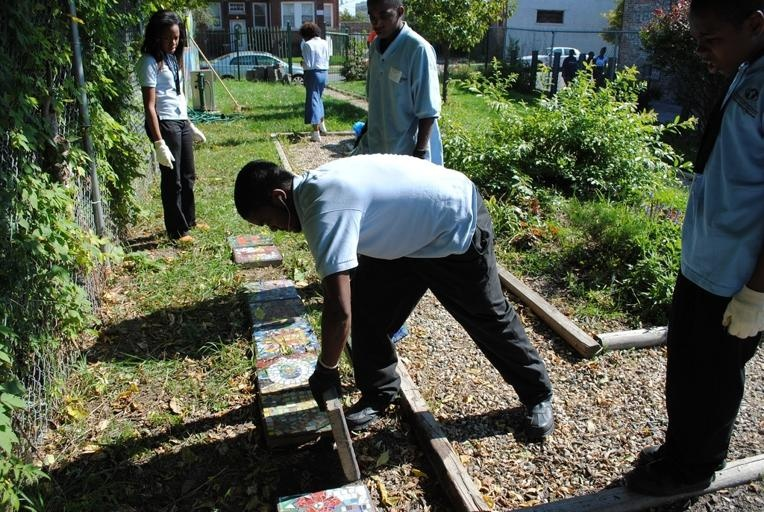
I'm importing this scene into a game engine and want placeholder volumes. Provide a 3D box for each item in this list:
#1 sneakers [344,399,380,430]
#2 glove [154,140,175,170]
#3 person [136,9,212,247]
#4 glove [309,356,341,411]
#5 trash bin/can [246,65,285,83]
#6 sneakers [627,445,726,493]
[{"bbox_3d":[-0.132,1.074,3.811,0.289,0.124,0.142,-28,4,-29],"label":"sneakers"},{"bbox_3d":[-2.239,-1.051,5.703,0.194,0.263,0.080,-32,4,40],"label":"glove"},{"bbox_3d":[-2.300,-1.378,5.959,0.442,2.333,0.856,-3,23,-13],"label":"person"},{"bbox_3d":[-0.315,0.779,3.216,0.191,0.397,0.147,22,29,39],"label":"glove"},{"bbox_3d":[-5.224,-8.183,24.968,1.131,0.790,1.135,4,38,6],"label":"trash bin/can"},{"bbox_3d":[1.787,1.291,3.373,0.633,0.279,0.259,-4,27,16],"label":"sneakers"}]
